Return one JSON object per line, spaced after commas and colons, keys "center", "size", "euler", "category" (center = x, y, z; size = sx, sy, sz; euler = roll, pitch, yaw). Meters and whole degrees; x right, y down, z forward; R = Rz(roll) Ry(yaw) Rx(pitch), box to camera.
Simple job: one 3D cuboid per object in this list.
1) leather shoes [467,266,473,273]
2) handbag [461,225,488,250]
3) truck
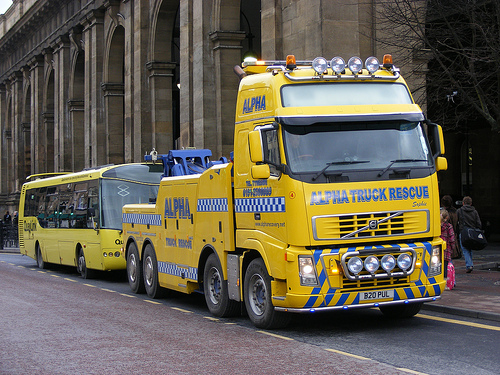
{"center": [5.709, 2.185, 18.114], "size": [0.072, 0.109, 0.239], "euler": [-2, -14, -5], "category": "leather shoes"}
{"center": [5.659, 1.319, 17.606], "size": [0.572, 0.590, 0.601], "euler": [-3, 2, 15], "category": "handbag"}
{"center": [0.262, -0.022, 12.962], "size": [2.549, 4.934, 5.982], "euler": [-4, 2, -44], "category": "truck"}
